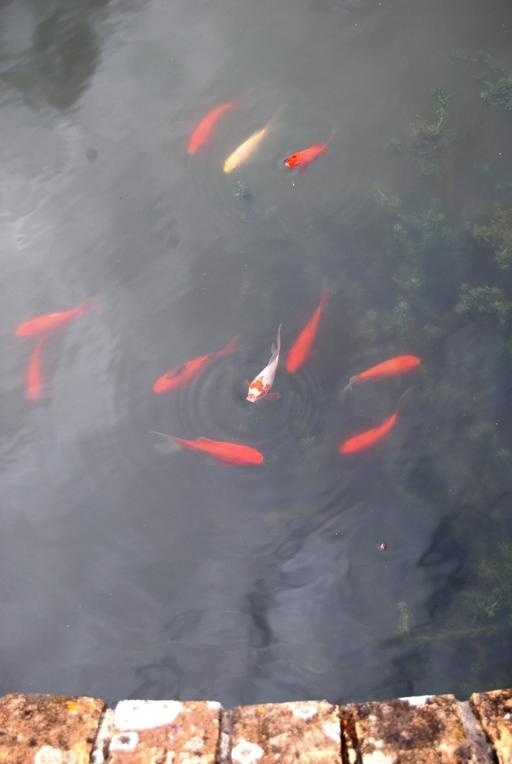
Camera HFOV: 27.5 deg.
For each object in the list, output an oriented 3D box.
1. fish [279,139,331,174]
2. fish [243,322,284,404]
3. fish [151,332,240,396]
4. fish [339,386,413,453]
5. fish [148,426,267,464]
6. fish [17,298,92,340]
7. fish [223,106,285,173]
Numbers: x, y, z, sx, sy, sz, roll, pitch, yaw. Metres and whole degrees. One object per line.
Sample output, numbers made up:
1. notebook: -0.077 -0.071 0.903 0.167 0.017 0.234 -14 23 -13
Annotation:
1. fish: 0.348 -1.567 7.323 0.374 0.126 0.150 -31 91 -15
2. fish: 0.079 -0.091 6.989 0.177 0.206 0.431 20 83 -4
3. fish: -0.380 -0.106 7.084 0.597 0.154 0.107 -31 82 -1
4. fish: 0.853 0.262 7.001 0.708 0.154 0.152 -37 41 -27
5. fish: -0.282 0.423 6.906 0.522 0.178 0.094 7 72 9
6. fish: -1.376 -0.426 7.281 0.425 0.177 0.072 -19 90 -5
7. fish: -0.008 -1.695 7.431 0.090 0.241 0.494 43 89 2
